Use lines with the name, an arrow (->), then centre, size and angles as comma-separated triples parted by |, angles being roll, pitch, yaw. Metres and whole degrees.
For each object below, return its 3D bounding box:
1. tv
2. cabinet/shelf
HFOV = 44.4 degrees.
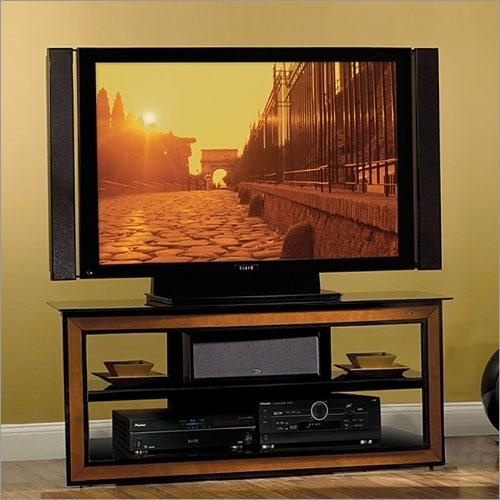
tv -> -0.050, -0.322, 2.508 | 1.058, 0.768, 0.287 | -1, 0, -11
cabinet/shelf -> 0.026, 0.559, 2.523 | 1.486, 0.658, 0.419 | -2, -8, -3
